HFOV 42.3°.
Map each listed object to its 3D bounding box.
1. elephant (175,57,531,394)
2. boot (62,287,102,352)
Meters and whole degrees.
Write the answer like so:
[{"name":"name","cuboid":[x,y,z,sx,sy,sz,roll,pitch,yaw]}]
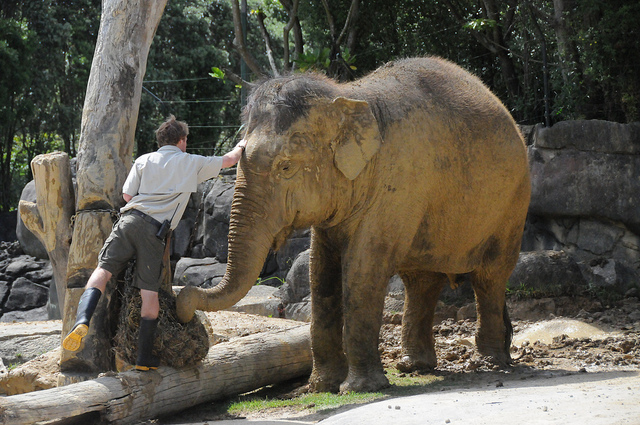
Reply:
[{"name":"elephant","cuboid":[0.698,0.173,11.098,5.151,4.542,2.268,-2,5,-25]},{"name":"boot","cuboid":[-2.811,1.124,9.697,0.427,0.742,0.192,-3,-39,-7]}]
